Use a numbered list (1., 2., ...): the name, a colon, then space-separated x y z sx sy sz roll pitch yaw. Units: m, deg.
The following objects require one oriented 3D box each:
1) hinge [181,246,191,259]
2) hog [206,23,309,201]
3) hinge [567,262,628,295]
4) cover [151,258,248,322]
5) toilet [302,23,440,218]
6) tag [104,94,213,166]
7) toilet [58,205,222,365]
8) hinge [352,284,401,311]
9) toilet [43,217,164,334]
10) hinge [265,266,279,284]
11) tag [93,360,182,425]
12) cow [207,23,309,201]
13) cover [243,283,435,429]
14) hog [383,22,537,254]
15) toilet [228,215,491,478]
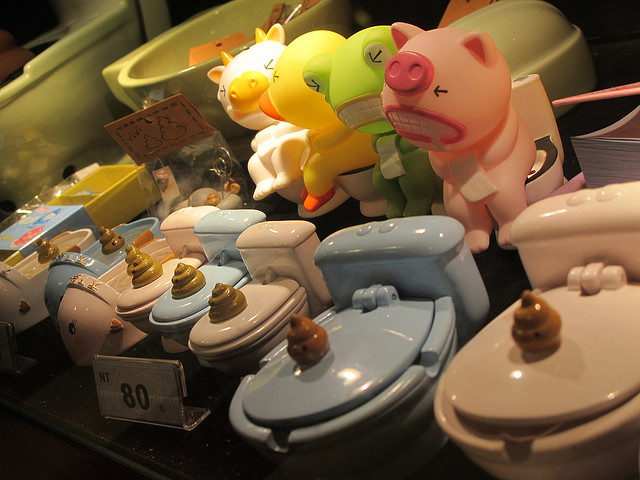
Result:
1. hinge: -0.339 0.030 1.320 0.018 0.026 0.024 0 -8 6
2. hog: -0.141 -0.328 1.407 0.218 0.415 0.261 -15 2 23
3. hinge: 0.408 0.061 0.775 0.042 0.050 0.076 9 -8 -39
4. cover: -0.260 0.105 1.123 0.170 0.137 0.169 -10 22 -22
5. toilet: 0.136 -0.244 1.109 0.179 0.415 0.233 -22 11 -41
6. tag: -0.420 -0.277 1.356 0.211 0.153 0.017 -19 50 6
7. toilet: -0.435 0.107 1.327 0.420 0.266 0.249 -20 21 -38
8. hinge: 0.093 0.100 0.905 0.073 0.044 0.042 -8 19 40
9. toilet: -0.568 0.065 1.486 0.233 0.220 0.413 11 36 38
10. hinge: -0.101 0.072 1.081 0.022 0.033 0.011 0 -17 -25
11. tag: -0.353 0.292 1.019 0.188 0.131 0.019 -2 6 16
12. cow: -0.142 -0.324 1.401 0.213 0.414 0.245 -17 2 -13
13. cover: 0.038 0.172 0.836 0.248 0.099 0.219 -39 15 -35
14. hog: 0.289 -0.200 1.024 0.297 0.443 0.228 -27 24 -27
15. toilet: 0.100 0.218 0.951 0.334 0.304 0.472 3 37 50
